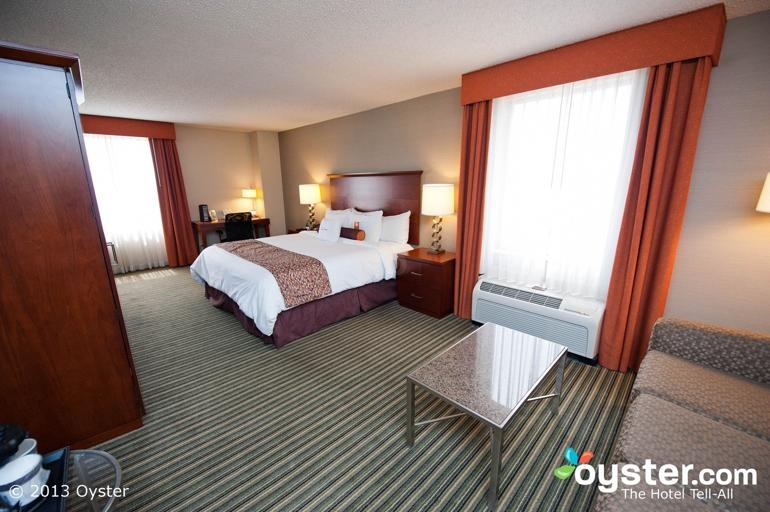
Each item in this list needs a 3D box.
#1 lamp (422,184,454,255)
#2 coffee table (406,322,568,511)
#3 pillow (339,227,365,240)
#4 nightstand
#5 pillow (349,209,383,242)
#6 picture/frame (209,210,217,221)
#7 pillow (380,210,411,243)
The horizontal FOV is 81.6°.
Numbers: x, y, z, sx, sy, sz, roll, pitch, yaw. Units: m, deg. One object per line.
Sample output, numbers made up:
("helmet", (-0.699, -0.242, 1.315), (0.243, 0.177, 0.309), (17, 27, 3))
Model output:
("lamp", (0.644, -0.444, 5.352), (0.376, 0.822, 0.483), (3, 14, 18))
("coffee table", (0.734, 0.939, 3.635), (1.035, 0.810, 1.730), (13, 21, 41))
("pillow", (-0.457, -0.289, 6.060), (0.383, 0.164, 0.168), (8, -8, 41))
("nightstand", (0.561, 0.332, 5.458), (0.741, 0.655, 0.628), (9, 16, 34))
("pillow", (-0.251, -0.408, 6.049), (0.446, 0.441, 0.135), (7, -2, 39))
("picture/frame", (-3.025, -0.697, 7.828), (0.163, 0.221, 0.081), (11, 7, 38))
("pillow", (0.139, -0.369, 5.935), (0.431, 0.305, 0.153), (4, 10, 43))
